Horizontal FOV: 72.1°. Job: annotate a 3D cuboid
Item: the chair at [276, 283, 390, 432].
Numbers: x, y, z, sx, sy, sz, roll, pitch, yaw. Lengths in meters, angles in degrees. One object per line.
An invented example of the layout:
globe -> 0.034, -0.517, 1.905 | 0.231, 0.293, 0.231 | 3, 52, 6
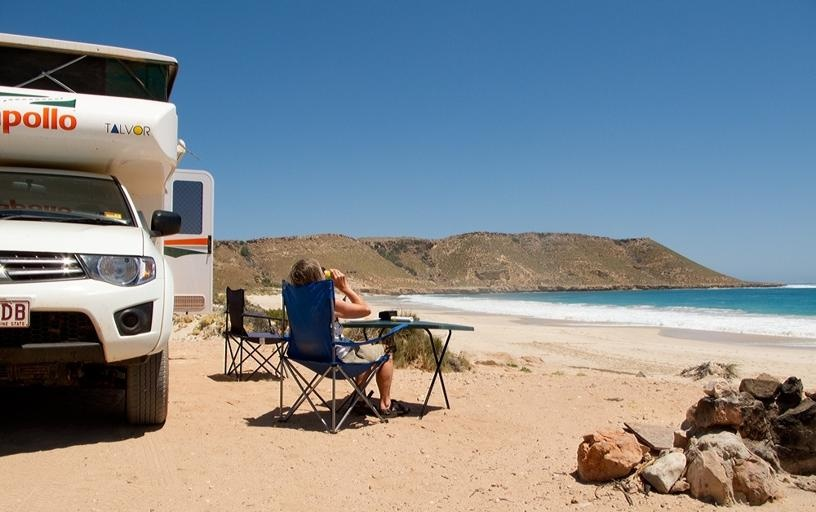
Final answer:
chair -> -0.882, 1.136, 6.505 | 1.171, 1.603, 1.184 | 1, -2, 22

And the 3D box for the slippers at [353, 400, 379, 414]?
slippers -> -0.521, 1.866, 6.849 | 0.248, 0.071, 0.262 | 1, -1, -34

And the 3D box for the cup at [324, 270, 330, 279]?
cup -> -0.935, 0.223, 6.409 | 0.072, 0.073, 0.043 | 8, 19, -25

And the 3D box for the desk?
desk -> 0.046, 1.675, 7.470 | 1.206, 1.519, 2.191 | -1, 1, -36

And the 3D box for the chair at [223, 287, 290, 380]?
chair -> -2.341, 1.193, 8.580 | 0.990, 1.255, 0.945 | 0, -7, 39
